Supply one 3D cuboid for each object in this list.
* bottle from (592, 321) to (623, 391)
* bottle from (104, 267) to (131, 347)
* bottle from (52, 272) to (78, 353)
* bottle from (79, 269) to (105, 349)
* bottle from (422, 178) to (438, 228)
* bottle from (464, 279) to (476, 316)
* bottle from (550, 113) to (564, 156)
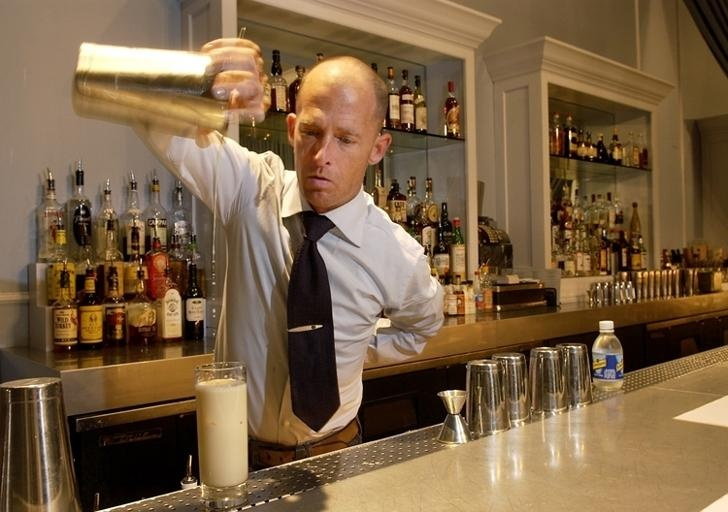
[{"bbox_3d":[0.773,0.316,1.981,0.121,0.216,0.125,-3,3,0],"label":"bottle"},{"bbox_3d":[-1.026,0.204,2.574,0.091,0.316,0.110,-2,8,-7],"label":"bottle"},{"bbox_3d":[-1.182,0.214,2.470,0.101,0.300,0.138,-3,8,-8],"label":"bottle"},{"bbox_3d":[-1.079,0.209,2.464,0.086,0.303,0.057,-6,9,-27],"label":"bottle"},{"bbox_3d":[0.370,-0.293,3.513,0.092,0.285,0.090,-3,11,0],"label":"bottle"},{"bbox_3d":[0.573,0.234,3.380,0.076,0.231,0.164,-1,0,17],"label":"bottle"},{"bbox_3d":[1.277,-0.808,4.121,0.080,0.282,0.230,2,9,21],"label":"bottle"}]
